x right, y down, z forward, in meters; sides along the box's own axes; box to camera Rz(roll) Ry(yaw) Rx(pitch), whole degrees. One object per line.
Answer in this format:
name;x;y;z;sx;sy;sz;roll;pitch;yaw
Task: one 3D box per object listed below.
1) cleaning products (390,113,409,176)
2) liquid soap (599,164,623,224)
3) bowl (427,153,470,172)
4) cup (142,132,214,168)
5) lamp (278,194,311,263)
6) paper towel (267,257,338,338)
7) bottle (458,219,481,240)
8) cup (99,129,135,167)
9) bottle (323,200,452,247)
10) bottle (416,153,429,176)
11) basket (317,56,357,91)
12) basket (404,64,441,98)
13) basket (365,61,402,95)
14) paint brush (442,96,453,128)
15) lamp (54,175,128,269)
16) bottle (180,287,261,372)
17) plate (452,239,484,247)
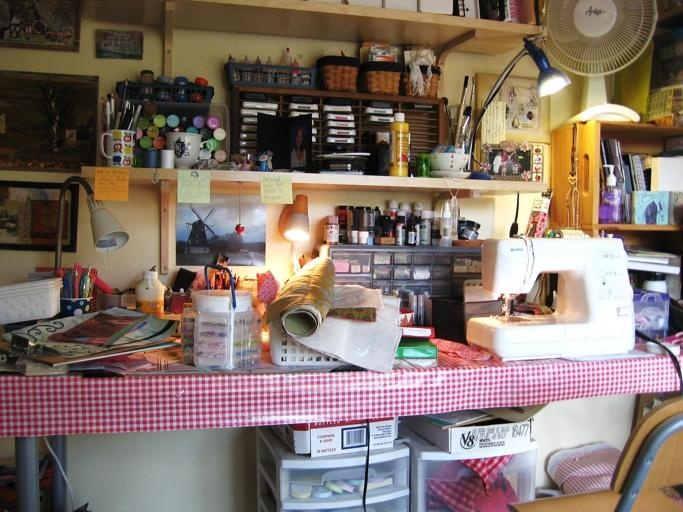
cleaning products;0.233;-0.434;2.480;0.076;0.225;0.078;-1;7;4
liquid soap;1.225;-0.281;2.786;0.150;0.266;0.060;-5;8;-28
bowl;0.448;-0.385;2.513;0.100;0.048;0.099;-1;-4;0
cup;-0.642;-0.418;2.418;0.301;0.139;0.144;-4;7;-17
lamp;-0.206;-0.103;2.637;0.141;0.319;0.197;-2;7;-5
paper towel;-0.117;0.135;1.995;0.153;0.173;0.528;-5;16;4
bottle;0.561;-0.117;2.740;0.091;0.086;0.081;4;9;37
cup;-0.842;-0.410;2.300;0.104;0.151;0.164;9;11;39
bottle;0.217;-0.139;2.691;0.595;0.194;0.255;-3;7;-11
bottle;0.341;-0.380;2.575;0.055;0.094;0.144;-1;7;6
basket;-0.016;-0.782;2.662;0.165;0.112;0.136;-3;6;-23
basket;0.355;-0.764;2.714;0.146;0.105;0.147;-2;8;-8
basket;0.179;-0.764;2.645;0.146;0.108;0.125;-3;7;-20
paint brush;0.494;-0.657;2.807;0.030;0.128;0.089;-7;-8;-5
lamp;-1.013;-0.136;2.395;0.254;0.358;0.449;-6;8;-33
bottle;-0.374;0.239;2.069;0.248;0.237;0.247;0;-1;22
plate;0.552;-0.056;2.685;0.133;0.023;0.149;0;7;9
